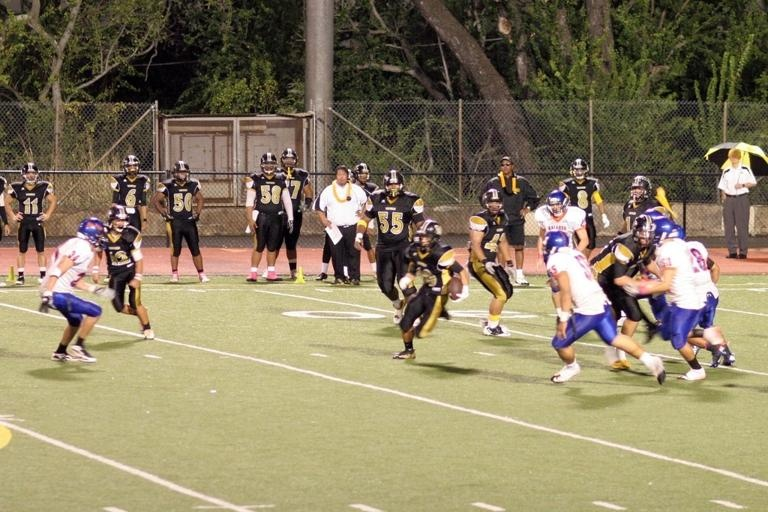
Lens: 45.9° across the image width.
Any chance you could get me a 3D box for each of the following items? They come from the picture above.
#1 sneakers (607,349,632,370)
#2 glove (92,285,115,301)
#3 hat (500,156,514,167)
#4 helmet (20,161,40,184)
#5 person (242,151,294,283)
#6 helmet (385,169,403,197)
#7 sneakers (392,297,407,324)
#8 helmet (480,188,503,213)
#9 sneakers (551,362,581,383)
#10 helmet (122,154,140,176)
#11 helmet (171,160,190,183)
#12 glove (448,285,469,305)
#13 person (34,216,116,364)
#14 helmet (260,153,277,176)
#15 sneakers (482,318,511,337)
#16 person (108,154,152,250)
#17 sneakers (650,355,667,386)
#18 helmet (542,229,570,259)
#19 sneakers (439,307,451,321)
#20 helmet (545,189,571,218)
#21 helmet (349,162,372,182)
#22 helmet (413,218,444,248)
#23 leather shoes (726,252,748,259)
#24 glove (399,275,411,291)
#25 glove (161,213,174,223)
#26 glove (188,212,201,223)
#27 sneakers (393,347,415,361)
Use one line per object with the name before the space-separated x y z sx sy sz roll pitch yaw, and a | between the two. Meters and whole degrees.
sneakers | 2.950 1.316 11.356 0.207 0.242 0.603 -5 8 16
glove | -3.646 0.472 11.774 0.263 0.156 0.420 2 0 -4
hat | 2.401 -1.882 17.774 0.200 0.149 0.308 1 -23 22
helmet | -7.089 -1.631 17.827 0.406 0.484 0.542 -2 4 -25
person | -2.312 -0.754 18.227 0.919 2.580 0.422 0 8 -7
helmet | 0.150 -1.158 14.356 0.307 0.360 0.421 -1 10 -1
sneakers | 0.227 0.840 13.945 0.202 0.453 0.158 4 7 -45
helmet | 1.636 -0.830 13.316 0.300 0.347 0.396 -3 13 -11
sneakers | 2.175 1.427 10.872 0.214 0.166 0.459 33 -40 -24
helmet | -5.227 -1.883 18.588 0.443 0.492 0.566 -3 11 -22
helmet | -3.986 -1.703 18.046 0.405 0.426 0.509 -5 19 -22
glove | 0.897 0.453 11.094 0.224 0.211 0.317 1 8 2
person | -3.930 0.436 11.545 0.821 1.847 0.968 -2 8 -17
helmet | -2.354 -1.891 18.361 0.419 0.482 0.554 0 4 -10
sneakers | 1.655 1.107 13.524 0.491 0.197 0.191 4 16 -3
person | -5.204 -0.887 18.586 0.885 2.236 0.703 -3 2 -25
sneakers | 3.147 1.296 10.330 0.153 0.431 0.174 -11 10 0
helmet | 2.060 -0.142 10.758 0.314 0.323 0.506 2 8 11
sneakers | 0.791 0.733 11.551 0.157 0.156 0.186 1 -6 -4
helmet | 2.492 -0.737 13.421 0.381 0.393 0.491 -5 18 23
helmet | -0.411 -1.677 18.385 0.385 0.424 0.502 5 18 -21
helmet | 0.542 -0.296 11.377 0.380 0.297 0.282 -19 20 -38
leather shoes | 8.773 0.005 22.514 0.492 0.197 0.153 8 4 -16
glove | 0.266 0.340 11.687 0.148 0.091 0.186 -10 -31 12
glove | -4.309 -0.776 17.942 0.133 0.169 0.340 -4 9 -30
glove | -3.750 -0.795 18.012 0.338 0.241 0.110 4 18 38
sneakers | 0.263 1.303 11.989 0.297 0.121 0.134 1 6 2
